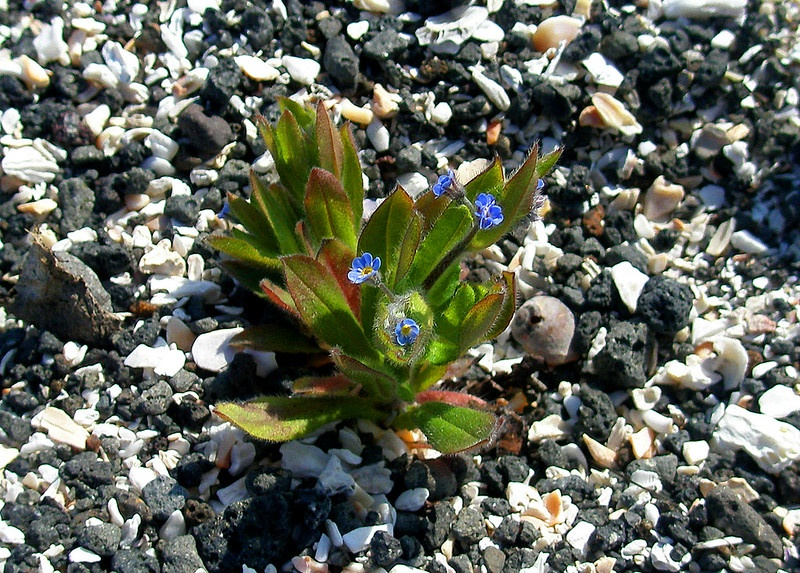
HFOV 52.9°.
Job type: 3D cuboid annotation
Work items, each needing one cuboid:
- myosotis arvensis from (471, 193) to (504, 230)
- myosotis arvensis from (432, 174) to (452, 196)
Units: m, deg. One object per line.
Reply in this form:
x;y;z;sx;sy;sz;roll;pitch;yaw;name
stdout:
0.420;-0.353;3.868;0.124;0.122;0.167;3;64;-4;myosotis arvensis
0.204;-0.490;3.886;0.038;0.081;0.105;18;90;-24;myosotis arvensis
